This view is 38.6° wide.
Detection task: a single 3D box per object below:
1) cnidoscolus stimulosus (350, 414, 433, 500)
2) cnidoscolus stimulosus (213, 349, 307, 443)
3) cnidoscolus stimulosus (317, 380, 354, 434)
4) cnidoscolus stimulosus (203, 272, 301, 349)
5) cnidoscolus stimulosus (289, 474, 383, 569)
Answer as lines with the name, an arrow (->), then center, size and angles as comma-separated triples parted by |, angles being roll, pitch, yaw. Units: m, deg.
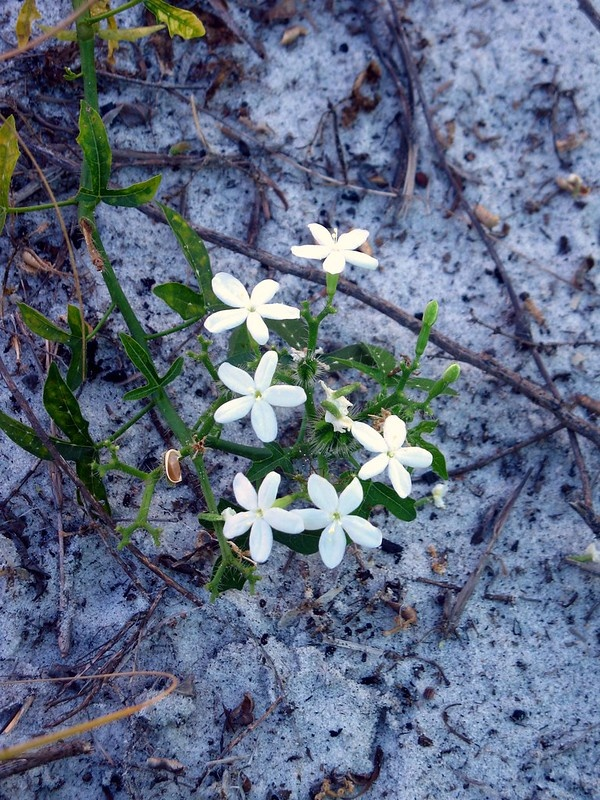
cnidoscolus stimulosus -> 0.314, 0.181, 2.910 | 0.293, 0.077, 0.274 | -5, 75, -15
cnidoscolus stimulosus -> -0.152, 0.047, 3.106 | 0.312, 0.616, 0.277 | 16, 72, 2
cnidoscolus stimulosus -> 0.136, 0.021, 3.064 | 0.078, 0.197, 0.115 | -21, 48, -7
cnidoscolus stimulosus -> -0.154, -0.312, 2.998 | 0.306, 0.173, 0.273 | 6, 71, -1
cnidoscolus stimulosus -> 0.122, 0.389, 2.934 | 0.380, 0.078, 0.363 | 1, 19, 6
